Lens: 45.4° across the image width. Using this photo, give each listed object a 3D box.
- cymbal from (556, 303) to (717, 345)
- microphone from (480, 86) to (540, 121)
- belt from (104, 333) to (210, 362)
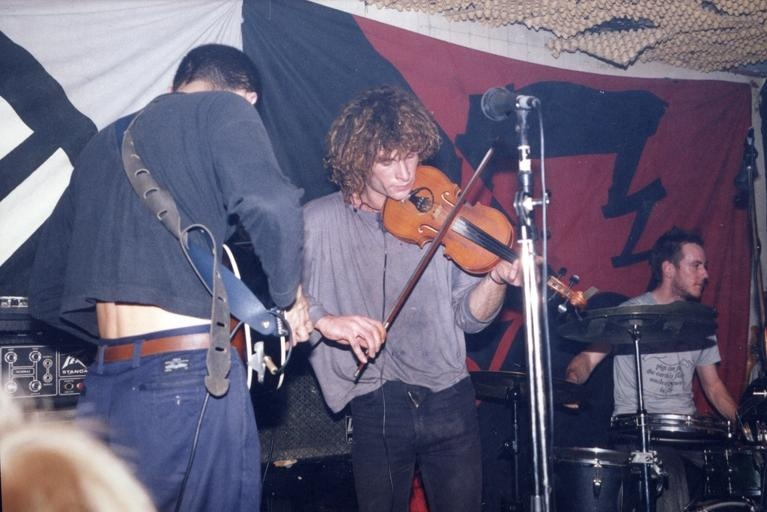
[{"bbox_3d":[1.733,0.465,6.222,1.050,0.237,0.577,-3,-13,9],"label":"cymbal"},{"bbox_3d":[0.750,-0.920,5.375,0.325,0.217,0.195,-9,-15,32],"label":"microphone"},{"bbox_3d":[-1.196,0.472,4.727,0.574,0.139,0.076,-2,-12,2],"label":"belt"}]
